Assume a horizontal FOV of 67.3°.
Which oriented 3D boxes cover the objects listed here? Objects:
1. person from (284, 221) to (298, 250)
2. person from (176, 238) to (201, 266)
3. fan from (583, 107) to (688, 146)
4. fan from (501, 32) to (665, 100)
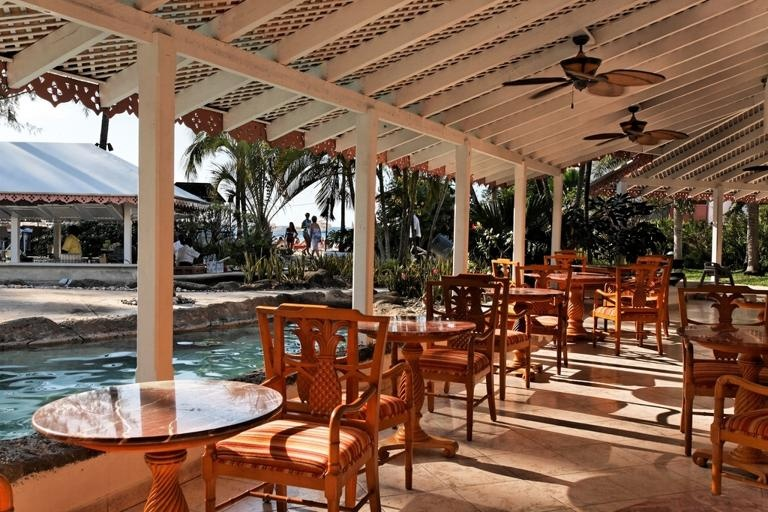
[{"bbox_3d":[-3.086,-0.632,19.131,0.348,0.998,1.321,2,-4,-9],"label":"person"},{"bbox_3d":[-5.636,-0.107,16.651,0.839,0.790,0.516,1,7,24],"label":"person"},{"bbox_3d":[3.946,-2.066,9.139,1.347,0.485,1.306,1,0,22],"label":"fan"},{"bbox_3d":[2.425,-2.415,7.051,1.535,0.837,1.114,2,-4,-16],"label":"fan"}]
